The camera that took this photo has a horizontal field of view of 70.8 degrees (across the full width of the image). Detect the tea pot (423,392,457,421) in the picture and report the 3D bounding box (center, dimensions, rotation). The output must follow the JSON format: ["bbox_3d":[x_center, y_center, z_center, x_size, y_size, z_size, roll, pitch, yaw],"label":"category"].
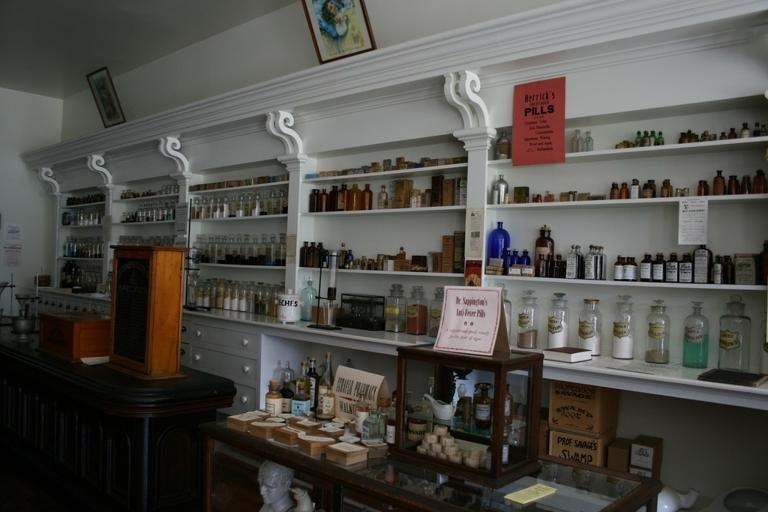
[{"bbox_3d":[0.285,0.780,2.711,0.129,0.096,0.082,0,-3,14],"label":"tea pot"}]

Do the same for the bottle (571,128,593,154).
[{"bbox_3d":[1.533,-0.901,4.227,0.177,0.175,0.214,7,13,28],"label":"bottle"}]

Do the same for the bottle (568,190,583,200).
[{"bbox_3d":[1.487,-0.463,4.233,0.084,0.088,0.087,-2,-2,44],"label":"bottle"}]

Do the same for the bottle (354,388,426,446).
[{"bbox_3d":[0.060,0.860,2.964,0.355,0.352,0.233,2,-2,14],"label":"bottle"}]

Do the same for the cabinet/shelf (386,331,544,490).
[{"bbox_3d":[0.398,0.693,2.895,0.759,0.730,0.597,0,-2,44],"label":"cabinet/shelf"}]

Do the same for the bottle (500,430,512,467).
[{"bbox_3d":[0.583,0.935,2.605,0.028,0.165,0.073,10,15,41],"label":"bottle"}]

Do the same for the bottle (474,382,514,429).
[{"bbox_3d":[0.491,0.736,2.622,0.212,0.233,0.203,0,2,2],"label":"bottle"}]
